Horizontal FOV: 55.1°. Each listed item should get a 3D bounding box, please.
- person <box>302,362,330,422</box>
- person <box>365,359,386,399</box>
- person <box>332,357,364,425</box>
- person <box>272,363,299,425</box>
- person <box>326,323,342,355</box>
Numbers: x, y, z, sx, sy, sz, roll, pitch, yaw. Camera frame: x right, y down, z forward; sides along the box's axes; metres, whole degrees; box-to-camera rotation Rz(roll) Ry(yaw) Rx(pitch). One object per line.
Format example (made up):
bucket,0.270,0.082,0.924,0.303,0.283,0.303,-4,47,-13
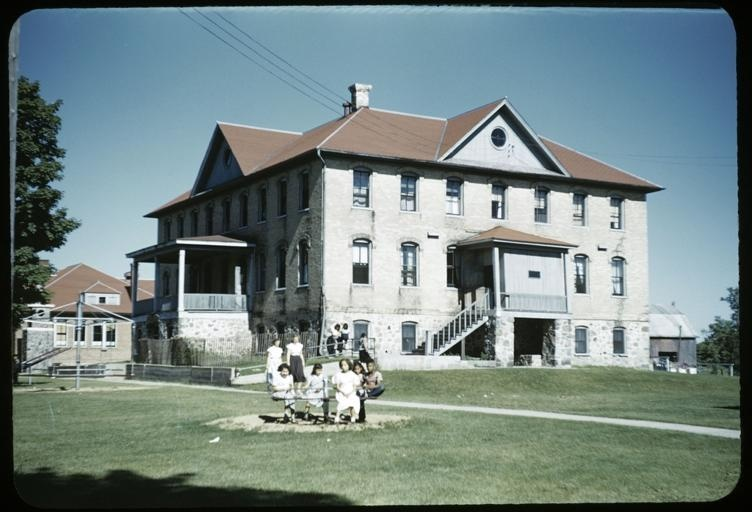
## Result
person,-1.566,3.621,19.117,0.658,1.490,1.419,1,-8,-5
person,-0.038,3.340,19.562,0.464,0.961,1.366,0,-8,-1
person,-0.710,3.472,18.430,0.673,1.622,1.269,1,-8,-3
person,-2.467,3.685,19.550,0.634,1.525,1.992,1,-8,-6
person,-1.775,3.625,33.129,0.700,0.593,1.480,9,-52,1
